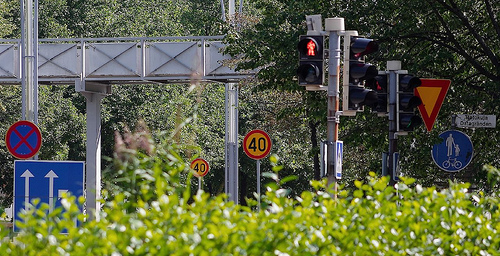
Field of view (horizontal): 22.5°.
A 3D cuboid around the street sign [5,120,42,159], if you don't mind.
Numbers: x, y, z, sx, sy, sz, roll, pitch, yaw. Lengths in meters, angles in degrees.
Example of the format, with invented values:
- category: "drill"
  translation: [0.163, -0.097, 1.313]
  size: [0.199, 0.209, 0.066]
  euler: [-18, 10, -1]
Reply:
- category: "street sign"
  translation: [-8.923, 0.479, 49.391]
  size: [1.337, 1.521, 0.366]
  euler: [-2, 7, -11]

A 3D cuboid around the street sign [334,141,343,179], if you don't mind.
- category: "street sign"
  translation: [3.319, 1.205, 46.593]
  size: [0.203, 1.433, 0.598]
  euler: [2, 7, 25]

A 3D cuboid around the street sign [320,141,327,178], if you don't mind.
- category: "street sign"
  translation: [2.775, 1.145, 46.438]
  size: [0.313, 1.296, 0.254]
  euler: [-3, 7, -17]

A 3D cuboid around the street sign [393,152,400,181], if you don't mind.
- category: "street sign"
  translation: [5.634, 1.503, 47.902]
  size: [0.247, 1.118, 0.373]
  euler: [0, 7, 10]

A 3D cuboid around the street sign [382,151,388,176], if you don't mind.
- category: "street sign"
  translation: [5.234, 1.411, 47.997]
  size: [0.335, 0.871, 0.181]
  euler: [-4, 7, -18]

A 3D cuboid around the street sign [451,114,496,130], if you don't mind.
- category: "street sign"
  translation: [8.761, -0.276, 48.693]
  size: [1.639, 0.526, 0.329]
  euler: [-1, 7, -1]

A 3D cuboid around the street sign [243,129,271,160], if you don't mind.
- category: "street sign"
  translation: [0.285, 0.720, 53.428]
  size: [1.467, 1.297, 0.127]
  euler: [2, -2, -30]

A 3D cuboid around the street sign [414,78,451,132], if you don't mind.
- category: "street sign"
  translation: [6.876, -0.882, 47.999]
  size: [1.933, 1.843, 0.157]
  euler: [1, -4, -17]

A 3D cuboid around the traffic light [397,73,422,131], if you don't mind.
- category: "traffic light"
  translation: [6.101, -0.971, 47.723]
  size: [0.902, 2.263, 0.481]
  euler: [-1, 7, 6]

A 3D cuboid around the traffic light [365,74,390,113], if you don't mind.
- category: "traffic light"
  translation: [5.019, -1.347, 48.062]
  size: [1.085, 1.650, 1.046]
  euler: [6, 9, 38]

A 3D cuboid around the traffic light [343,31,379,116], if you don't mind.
- category: "traffic light"
  translation: [4.167, -2.032, 46.583]
  size: [1.248, 3.195, 1.192]
  euler: [1, 0, -2]
